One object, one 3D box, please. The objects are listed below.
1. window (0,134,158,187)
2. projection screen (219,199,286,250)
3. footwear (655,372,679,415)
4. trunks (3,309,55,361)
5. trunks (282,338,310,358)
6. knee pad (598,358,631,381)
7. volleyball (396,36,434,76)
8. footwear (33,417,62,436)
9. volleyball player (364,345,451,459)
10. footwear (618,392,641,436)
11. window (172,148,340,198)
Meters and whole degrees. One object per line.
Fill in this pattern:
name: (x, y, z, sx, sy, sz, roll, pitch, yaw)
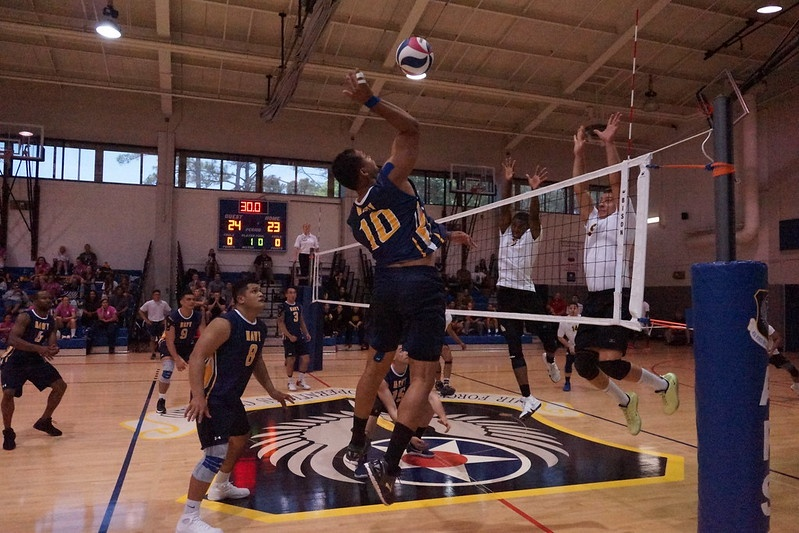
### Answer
window: (-9.370, -3.069, 17.714, 3.763, 1.242, 0.464, -3, 9, -18)
projection screen: (-4.752, -1.306, 18.502, 1.589, 1.188, 0.154, 0, 0, -15)
footwear: (3.236, 1.473, 7.020, 0.248, 0.560, 0.206, -9, 3, -3)
trunks: (-4.788, 0.918, 7.571, 0.616, 0.684, 0.527, -6, 11, -33)
trunks: (-1.892, 1.486, 10.738, 0.545, 0.497, 0.318, 1, -9, -13)
knee pad: (2.441, 1.156, 6.651, 0.298, 0.156, 0.224, 13, -8, -41)
volleyball: (0.153, -2.099, 5.871, 0.325, 0.402, 0.218, 2, 9, 9)
footwear: (-4.764, 2.158, 7.911, 0.342, 0.160, 0.120, 24, 0, -9)
volleyball player: (0.137, 1.600, 7.226, 0.974, 1.450, 0.749, -3, -12, 11)
footwear: (2.770, 1.718, 6.959, 0.259, 0.629, 0.208, 20, 47, 40)
window: (-4.543, -2.982, 19.069, 5.190, 1.280, 0.171, 2, -6, -9)
